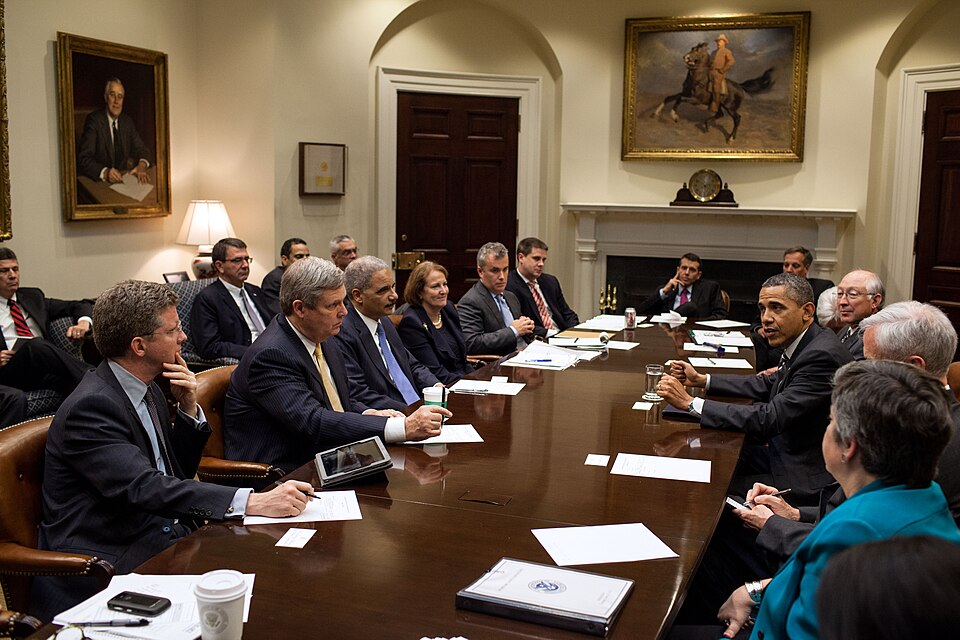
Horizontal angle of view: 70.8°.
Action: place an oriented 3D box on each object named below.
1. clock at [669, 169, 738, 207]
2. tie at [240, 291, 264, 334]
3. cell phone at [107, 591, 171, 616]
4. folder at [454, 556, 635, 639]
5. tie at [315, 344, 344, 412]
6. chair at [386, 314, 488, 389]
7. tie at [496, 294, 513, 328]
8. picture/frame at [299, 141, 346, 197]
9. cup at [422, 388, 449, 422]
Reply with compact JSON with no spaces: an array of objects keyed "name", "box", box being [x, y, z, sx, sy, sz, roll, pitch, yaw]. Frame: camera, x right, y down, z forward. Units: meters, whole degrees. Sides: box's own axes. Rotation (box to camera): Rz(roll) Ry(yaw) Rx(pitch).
[{"name":"clock","box":[2.551,-1.488,7.580,0.482,0.295,0.170,0,-1,9]},{"name":"tie","box":[-1.979,-0.057,5.805,0.106,0.306,0.215,-30,23,-28]},{"name":"cell phone","box":[-0.906,0.733,1.777,0.108,0.025,0.063,6,10,14]},{"name":"folder","box":[0.178,0.739,1.825,0.414,0.053,0.279,4,11,24]},{"name":"tie","box":[-0.736,0.290,3.254,0.056,0.319,0.080,-22,5,-15]},{"name":"chair","box":[-0.249,0.234,4.857,0.444,0.726,0.575,-7,13,31]},{"name":"tie","box":[0.199,-0.078,5.739,0.070,0.242,0.182,-23,-6,43]},{"name":"picture/frame","box":[-1.636,-1.587,7.117,0.565,0.546,0.099,6,6,27]},{"name":"cup","box":[-0.212,0.381,3.226,0.111,0.086,0.113,0,14,0]}]
